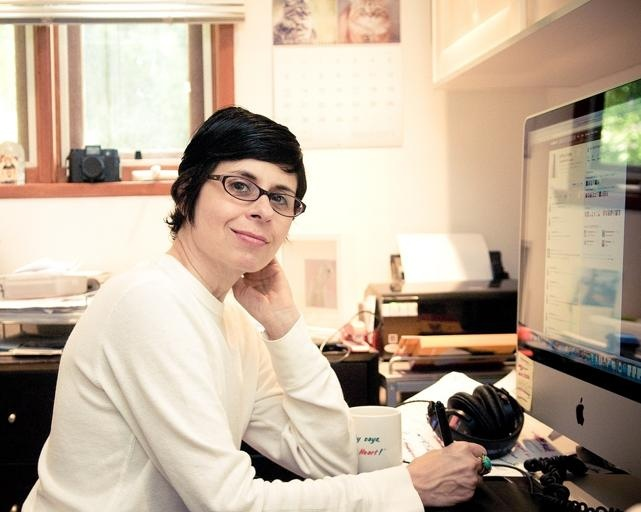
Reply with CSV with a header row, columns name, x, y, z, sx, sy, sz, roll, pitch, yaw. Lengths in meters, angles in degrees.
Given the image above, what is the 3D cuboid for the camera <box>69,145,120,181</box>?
name,x,y,z,sx,sy,sz,roll,pitch,yaw
camera,-0.871,-0.346,2.057,0.185,0.128,0.093,0,6,-5

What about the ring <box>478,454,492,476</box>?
name,x,y,z,sx,sy,sz,roll,pitch,yaw
ring,0.353,0.443,1.153,0.024,0.041,0.032,11,-10,2

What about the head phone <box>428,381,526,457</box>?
name,x,y,z,sx,sy,sz,roll,pitch,yaw
head phone,0.374,0.370,1.242,0.163,0.091,0.176,-25,37,-11

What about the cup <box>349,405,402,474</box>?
name,x,y,z,sx,sy,sz,roll,pitch,yaw
cup,0.148,0.427,1.259,0.113,0.151,0.176,-1,-7,28

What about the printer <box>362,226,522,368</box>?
name,x,y,z,sx,sy,sz,roll,pitch,yaw
printer,0.407,0.119,1.930,0.484,0.434,0.457,0,1,-2
